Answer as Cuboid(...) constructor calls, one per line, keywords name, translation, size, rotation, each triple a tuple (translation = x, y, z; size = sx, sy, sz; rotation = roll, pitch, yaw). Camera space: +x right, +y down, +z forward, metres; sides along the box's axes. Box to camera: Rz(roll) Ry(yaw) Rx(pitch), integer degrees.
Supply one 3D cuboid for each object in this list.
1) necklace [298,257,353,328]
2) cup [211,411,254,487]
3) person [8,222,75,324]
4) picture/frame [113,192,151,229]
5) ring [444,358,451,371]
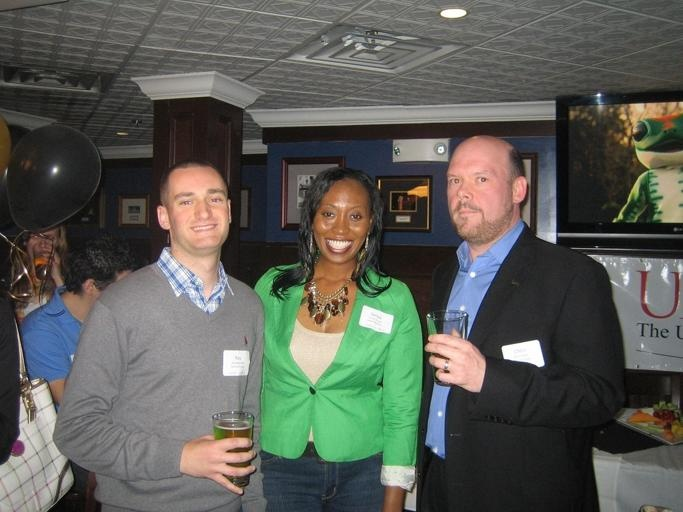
Cuboid(name="necklace", translation=(-0.068, 0.191, 2.412), size=(0.216, 0.225, 0.031), rotation=(4, -23, 0))
Cuboid(name="cup", translation=(-0.394, 0.719, 1.978), size=(0.145, 0.312, 0.149), rotation=(-1, 5, 0))
Cuboid(name="person", translation=(-2.325, 0.106, 4.198), size=(0.270, 0.778, 0.768), rotation=(-2, 37, -27))
Cuboid(name="picture/frame", translation=(-3.092, -0.679, 7.986), size=(0.752, 0.635, 0.075), rotation=(1, 2, 6))
Cuboid(name="ring", translation=(0.394, 0.407, 2.002), size=(0.022, 0.041, 0.014), rotation=(-1, 5, 5))
